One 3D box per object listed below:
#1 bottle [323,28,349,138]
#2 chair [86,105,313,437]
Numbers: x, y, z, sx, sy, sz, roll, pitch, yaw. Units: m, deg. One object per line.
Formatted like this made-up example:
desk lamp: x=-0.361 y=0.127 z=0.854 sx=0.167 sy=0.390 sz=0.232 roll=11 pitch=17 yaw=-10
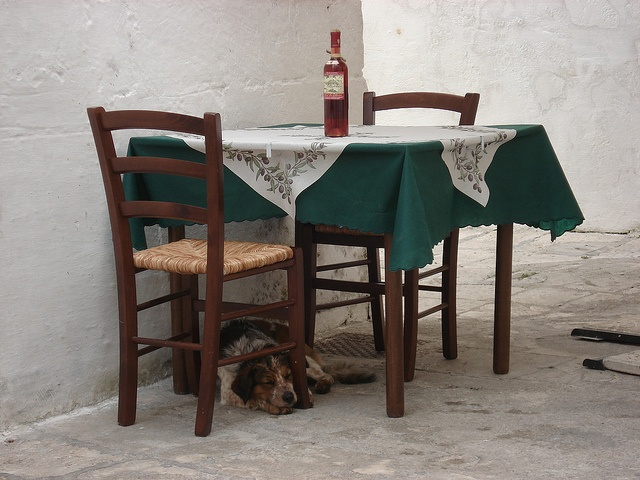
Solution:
bottle: x=0.065 y=-0.668 z=2.572 sx=0.110 sy=0.456 sz=0.222 roll=-2 pitch=10 yaw=6
chair: x=-0.454 y=0.102 z=2.322 sx=0.713 sy=1.226 sz=0.504 roll=-1 pitch=11 yaw=13
